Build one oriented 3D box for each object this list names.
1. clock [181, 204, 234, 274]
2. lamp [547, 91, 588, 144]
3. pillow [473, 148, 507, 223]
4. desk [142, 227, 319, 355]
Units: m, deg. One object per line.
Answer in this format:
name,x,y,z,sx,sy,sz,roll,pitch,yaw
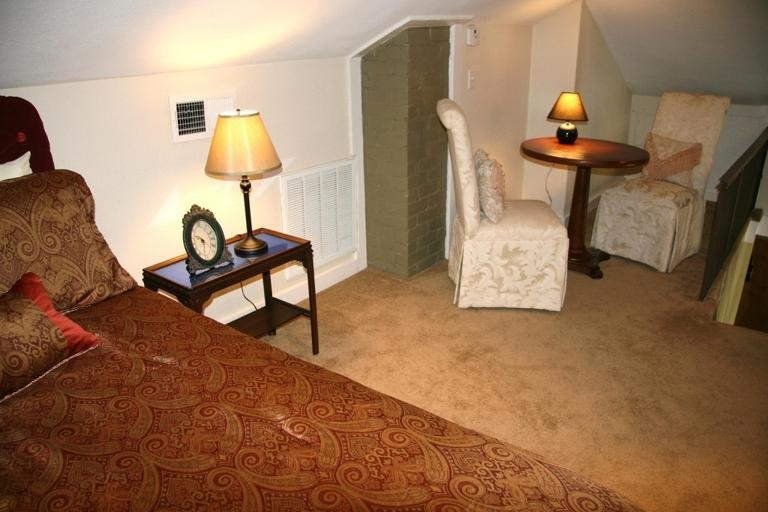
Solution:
clock,-0.993,-0.086,3.035,0.034,0.398,0.358,-4,12,35
lamp,1.505,-1.117,4.492,0.357,0.385,0.358,-1,12,17
pillow,0.754,-0.497,3.943,0.204,0.540,0.570,-7,21,6
desk,-0.872,0.345,3.286,0.538,0.722,0.874,10,22,33
